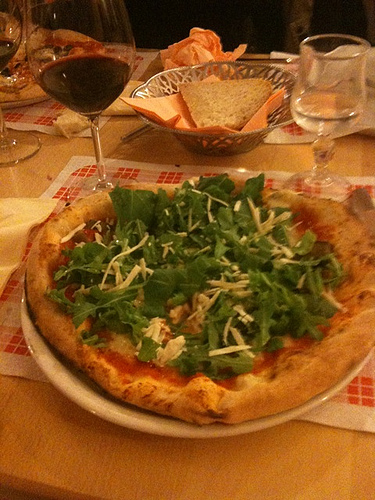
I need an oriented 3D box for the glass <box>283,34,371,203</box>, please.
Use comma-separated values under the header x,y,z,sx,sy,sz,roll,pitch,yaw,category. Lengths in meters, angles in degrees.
x,y,z,sx,sy,sz,roll,pitch,yaw,category
0.249,-0.225,0.837,0.168,0.350,0.150,16,36,21,glass
